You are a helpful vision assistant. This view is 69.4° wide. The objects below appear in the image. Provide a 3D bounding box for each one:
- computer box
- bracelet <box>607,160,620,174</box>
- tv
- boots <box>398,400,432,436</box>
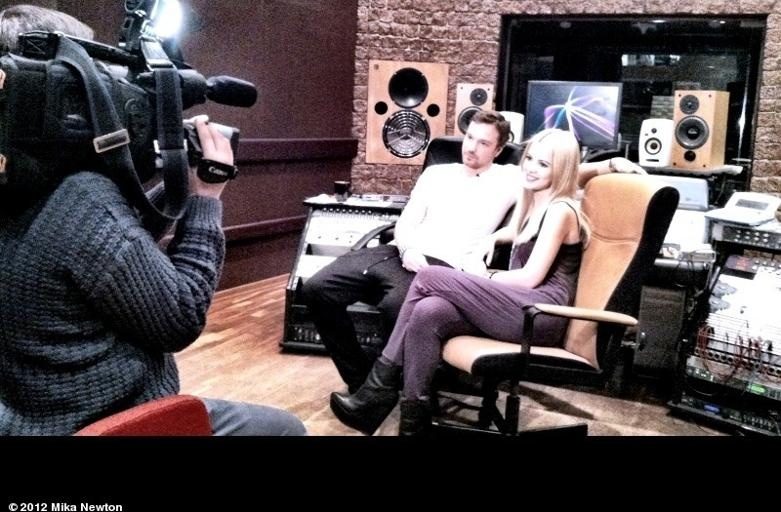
[{"bbox_3d":[1.546,0.428,3.147,0.318,0.485,0.309,25,-20,-39],"label":"computer box"},{"bbox_3d":[0.994,-0.398,2.515,0.058,0.053,0.042,-6,0,-7],"label":"bracelet"},{"bbox_3d":[1.244,-0.957,3.807,0.823,0.547,0.239,8,11,34],"label":"tv"},{"bbox_3d":[0.099,0.644,2.252,0.123,0.146,0.104,3,0,2],"label":"boots"}]
